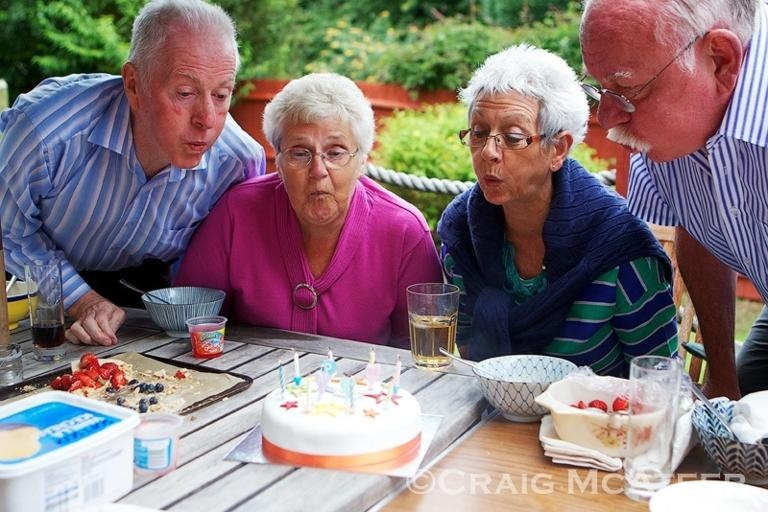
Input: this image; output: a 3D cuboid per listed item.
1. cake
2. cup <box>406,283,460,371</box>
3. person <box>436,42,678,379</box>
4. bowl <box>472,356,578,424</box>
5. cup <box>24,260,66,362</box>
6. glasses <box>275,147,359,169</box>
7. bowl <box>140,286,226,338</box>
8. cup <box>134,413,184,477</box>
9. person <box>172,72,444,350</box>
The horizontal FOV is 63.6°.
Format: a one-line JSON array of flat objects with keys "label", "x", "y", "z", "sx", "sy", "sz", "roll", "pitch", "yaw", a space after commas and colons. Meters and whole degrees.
[{"label": "cake", "x": -0.165, "y": 0.475, "z": 2.208, "sx": 0.585, "sy": 0.337, "sz": 0.546, "roll": -6, "pitch": 12, "yaw": -37}, {"label": "cup", "x": 0.200, "y": 0.289, "z": 2.660, "sx": 0.305, "sy": 0.451, "sz": 0.302, "roll": -1, "pitch": 8, "yaw": 0}, {"label": "person", "x": 0.779, "y": 0.101, "z": 2.880, "sx": 0.755, "sy": 1.931, "sz": 1.138, "roll": -7, "pitch": 16, "yaw": -33}, {"label": "bowl", "x": 0.502, "y": 0.475, "z": 2.302, "sx": 0.260, "sy": 0.121, "sz": 0.277, "roll": -1, "pitch": 7, "yaw": 0}, {"label": "cup", "x": -1.403, "y": 0.217, "z": 2.648, "sx": 0.159, "sy": 0.425, "sz": 0.157, "roll": 2, "pitch": 17, "yaw": -1}, {"label": "glasses", "x": -0.290, "y": -0.447, "z": 2.839, "sx": 0.332, "sy": 0.090, "sz": 0.071, "roll": -3, "pitch": 16, "yaw": -7}, {"label": "bowl", "x": -0.908, "y": 0.203, "z": 2.955, "sx": 0.362, "sy": 0.225, "sz": 0.381, "roll": 0, "pitch": 11, "yaw": 0}, {"label": "cup", "x": -0.706, "y": 0.591, "z": 1.988, "sx": 0.158, "sy": 0.131, "sz": 0.165, "roll": 1, "pitch": 3, "yaw": 0}, {"label": "person", "x": -0.271, "y": -0.069, "z": 3.384, "sx": 1.073, "sy": 1.645, "sz": 0.908, "roll": 4, "pitch": 9, "yaw": 15}]
